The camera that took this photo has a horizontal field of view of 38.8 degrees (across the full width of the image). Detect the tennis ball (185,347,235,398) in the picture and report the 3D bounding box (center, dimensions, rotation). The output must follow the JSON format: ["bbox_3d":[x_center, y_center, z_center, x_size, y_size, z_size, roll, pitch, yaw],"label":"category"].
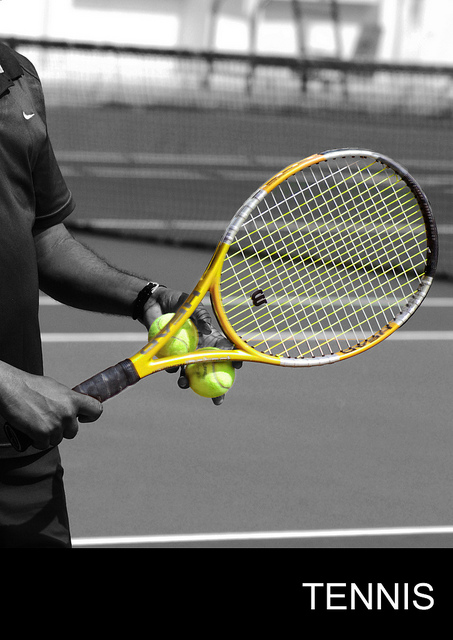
[{"bbox_3d":[-0.042,0.164,1.725,0.133,0.112,0.079,-5,24,-3],"label":"tennis ball"}]

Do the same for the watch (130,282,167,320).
[{"bbox_3d":[-0.221,-0.057,1.690,0.104,0.054,0.099,-20,-15,-18],"label":"watch"}]

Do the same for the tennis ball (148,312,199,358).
[{"bbox_3d":[-0.122,0.051,1.703,0.129,0.119,0.123,4,-19,1],"label":"tennis ball"}]
